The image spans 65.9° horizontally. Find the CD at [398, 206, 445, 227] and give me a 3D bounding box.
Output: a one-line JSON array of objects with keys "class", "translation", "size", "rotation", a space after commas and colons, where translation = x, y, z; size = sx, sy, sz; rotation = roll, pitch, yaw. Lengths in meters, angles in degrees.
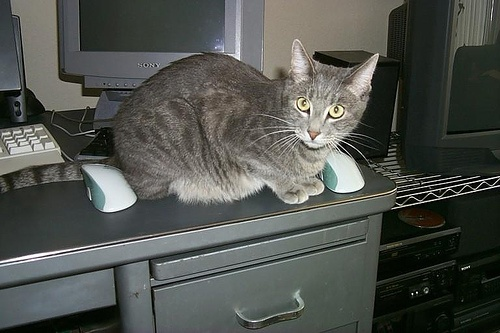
[{"class": "CD", "translation": [0.621, 0.184, 1.422], "size": [0.168, 0.009, 0.168], "rotation": [-12, 22, -36]}]

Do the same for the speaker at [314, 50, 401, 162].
[{"class": "speaker", "translation": [0.355, -0.237, 1.416], "size": [0.271, 0.389, 0.246], "rotation": [-1, 22, -4]}]

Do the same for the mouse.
[{"class": "mouse", "translation": [-0.366, 0.036, 1.006], "size": [0.120, 0.068, 0.203], "rotation": [-7, 32, -34]}]
